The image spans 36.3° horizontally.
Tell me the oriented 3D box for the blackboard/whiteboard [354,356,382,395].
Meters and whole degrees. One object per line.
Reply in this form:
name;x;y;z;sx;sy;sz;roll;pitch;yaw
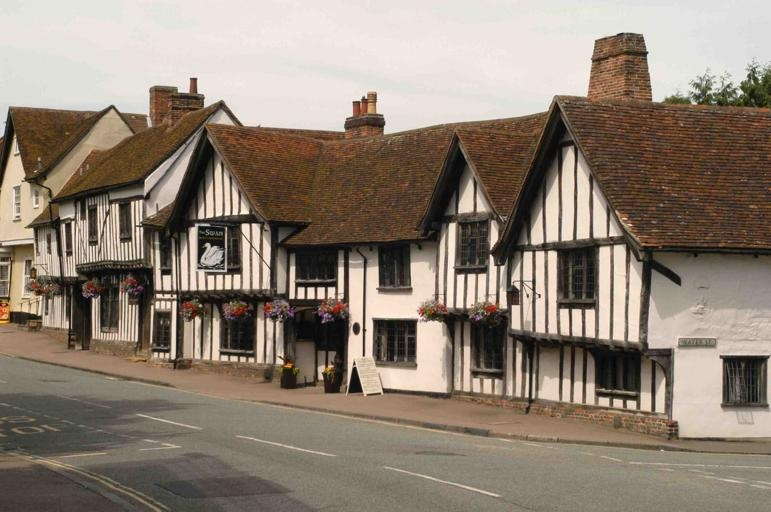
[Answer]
blackboard/whiteboard;-0.754;4.709;46.208;1.014;1.577;1.032;-4;-11;-23

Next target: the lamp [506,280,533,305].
lamp;4.777;1.274;41.803;0.980;0.855;0.659;3;-5;-19

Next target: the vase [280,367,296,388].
vase;-3.829;4.797;47.323;0.736;0.924;0.446;-2;6;-29

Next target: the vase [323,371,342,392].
vase;-2.072;4.968;46.797;0.703;0.855;0.809;-1;-4;2

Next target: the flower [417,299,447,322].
flower;1.785;2.014;44.177;0.891;0.741;0.895;2;1;39

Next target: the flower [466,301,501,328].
flower;3.626;2.055;42.613;0.953;0.819;0.991;1;-2;6

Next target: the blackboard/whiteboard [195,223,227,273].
blackboard/whiteboard;-7.206;-0.359;48.782;1.894;2.530;0.195;-4;5;-37
